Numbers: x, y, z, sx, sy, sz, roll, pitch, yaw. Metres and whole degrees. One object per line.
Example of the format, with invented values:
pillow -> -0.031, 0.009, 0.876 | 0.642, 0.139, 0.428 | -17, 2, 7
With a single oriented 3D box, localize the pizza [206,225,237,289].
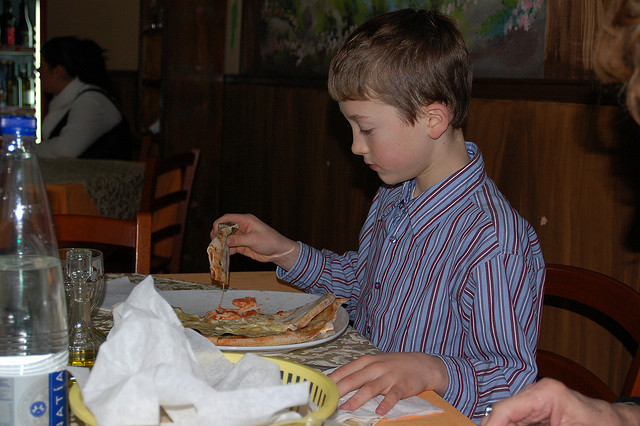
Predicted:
pizza -> -0.281, 0.119, 1.589 | 0.050, 0.145, 0.143 | -7, -3, 23

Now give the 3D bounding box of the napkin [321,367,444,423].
napkin -> 0.111, 0.306, 1.121 | 0.195, 0.093, 0.193 | 9, 11, 31

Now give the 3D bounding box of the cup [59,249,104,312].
cup -> -0.531, 0.157, 1.297 | 0.114, 0.134, 0.118 | 0, 0, 0

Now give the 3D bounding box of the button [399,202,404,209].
button -> 0.244, -0.022, 1.727 | 0.013, 0.020, 0.028 | 1, 3, 7
